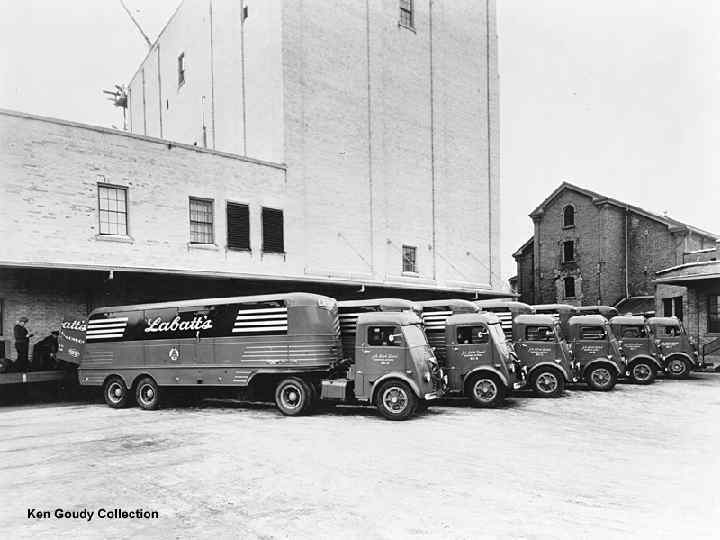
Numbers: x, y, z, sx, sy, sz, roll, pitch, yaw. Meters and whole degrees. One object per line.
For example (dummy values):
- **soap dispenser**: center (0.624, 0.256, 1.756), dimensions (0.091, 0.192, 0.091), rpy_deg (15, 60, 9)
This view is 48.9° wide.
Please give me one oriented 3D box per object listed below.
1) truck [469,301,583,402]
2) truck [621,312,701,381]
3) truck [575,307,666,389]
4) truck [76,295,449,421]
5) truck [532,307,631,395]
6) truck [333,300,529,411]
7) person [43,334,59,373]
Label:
- **truck**: center (6.048, 2.869, 28.183), dimensions (3.716, 3.084, 2.370), rpy_deg (-4, -3, 20)
- **truck**: center (12.973, 3.228, 32.432), dimensions (1.675, 2.354, 2.982), rpy_deg (-2, -3, -25)
- **truck**: center (10.838, 3.244, 31.470), dimensions (2.073, 2.465, 3.593), rpy_deg (-4, -4, -29)
- **truck**: center (-4.523, 2.882, 26.840), dimensions (14.781, 5.165, 3.979), rpy_deg (-5, -5, 22)
- **truck**: center (8.262, 2.982, 29.417), dimensions (3.578, 2.416, 2.177), rpy_deg (-3, -3, 13)
- **truck**: center (2.154, 2.893, 24.014), dimensions (4.514, 2.367, 3.488), rpy_deg (-4, -4, 12)
- **person**: center (-10.375, 2.868, 26.737), dimensions (0.411, 1.049, 0.307), rpy_deg (-6, 10, -35)
